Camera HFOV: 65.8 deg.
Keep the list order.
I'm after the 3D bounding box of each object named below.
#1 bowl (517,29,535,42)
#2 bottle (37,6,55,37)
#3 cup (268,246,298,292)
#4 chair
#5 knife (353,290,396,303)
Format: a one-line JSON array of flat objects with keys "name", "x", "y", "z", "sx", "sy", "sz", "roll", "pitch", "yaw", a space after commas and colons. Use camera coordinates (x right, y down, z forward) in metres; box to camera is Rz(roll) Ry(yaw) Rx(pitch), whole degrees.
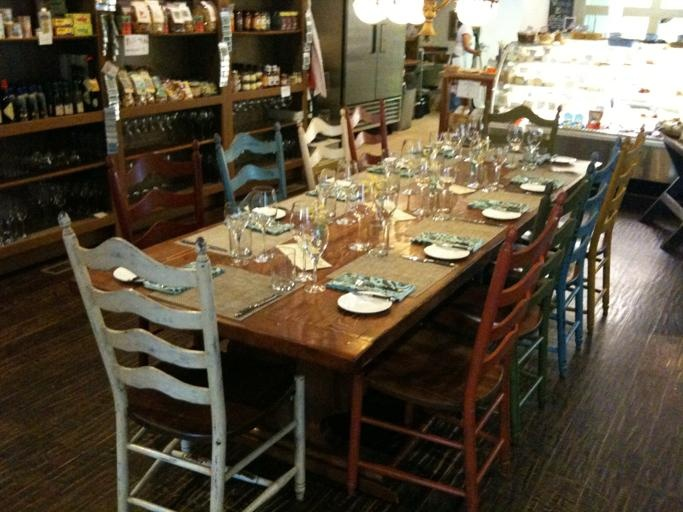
[{"name": "bowl", "x": 1.880, "y": -2.228, "z": 5.388, "sx": 0.156, "sy": 0.104, "sz": 0.156, "roll": -4, "pitch": 19, "yaw": 1}, {"name": "bottle", "x": -2.008, "y": -1.582, "z": 3.553, "sx": 0.068, "sy": 0.169, "sz": 0.127, "roll": 5, "pitch": 24, "yaw": 11}, {"name": "cup", "x": -0.227, "y": 0.043, "z": 2.025, "sx": 0.126, "sy": 0.202, "sz": 0.137, "roll": 0, "pitch": 9, "yaw": 0}, {"name": "chair", "x": -0.044, "y": 0.316, "z": 2.066, "sx": 1.706, "sy": 1.219, "sz": 1.046, "roll": -12, "pitch": 26, "yaw": -24}, {"name": "knife", "x": 0.111, "y": 0.143, "z": 1.868, "sx": 0.079, "sy": 0.016, "sz": 0.061, "roll": 20, "pitch": 24, "yaw": 26}]
